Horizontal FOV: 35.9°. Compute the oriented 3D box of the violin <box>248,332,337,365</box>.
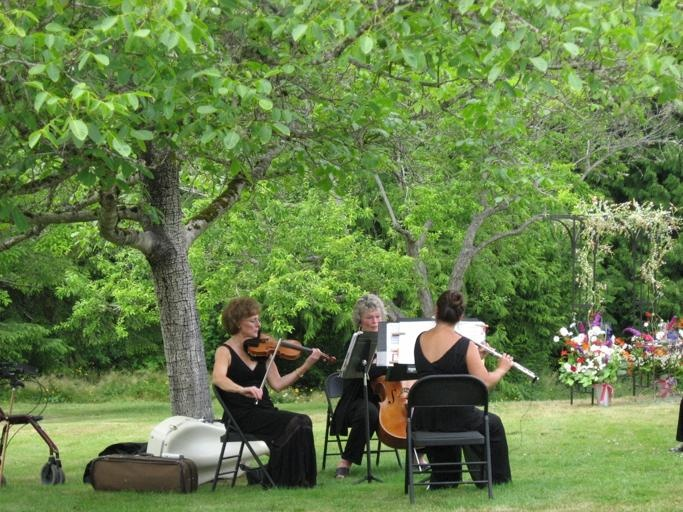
[{"bbox_3d":[-0.583,0.945,10.513,0.803,0.129,0.328,15,18,-25],"label":"violin"}]

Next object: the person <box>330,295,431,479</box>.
[{"bbox_3d":[0.367,1.231,10.863,0.842,2.004,0.768,2,0,-22],"label":"person"}]

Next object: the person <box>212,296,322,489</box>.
[{"bbox_3d":[-0.699,1.422,10.320,0.806,2.149,0.841,-2,-4,29],"label":"person"}]

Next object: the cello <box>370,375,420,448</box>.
[{"bbox_3d":[0.497,1.538,10.617,0.344,0.655,0.181,8,-34,-22],"label":"cello"}]

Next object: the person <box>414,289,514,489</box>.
[{"bbox_3d":[1.109,1.283,9.840,0.743,2.076,0.663,0,-3,-2],"label":"person"}]
